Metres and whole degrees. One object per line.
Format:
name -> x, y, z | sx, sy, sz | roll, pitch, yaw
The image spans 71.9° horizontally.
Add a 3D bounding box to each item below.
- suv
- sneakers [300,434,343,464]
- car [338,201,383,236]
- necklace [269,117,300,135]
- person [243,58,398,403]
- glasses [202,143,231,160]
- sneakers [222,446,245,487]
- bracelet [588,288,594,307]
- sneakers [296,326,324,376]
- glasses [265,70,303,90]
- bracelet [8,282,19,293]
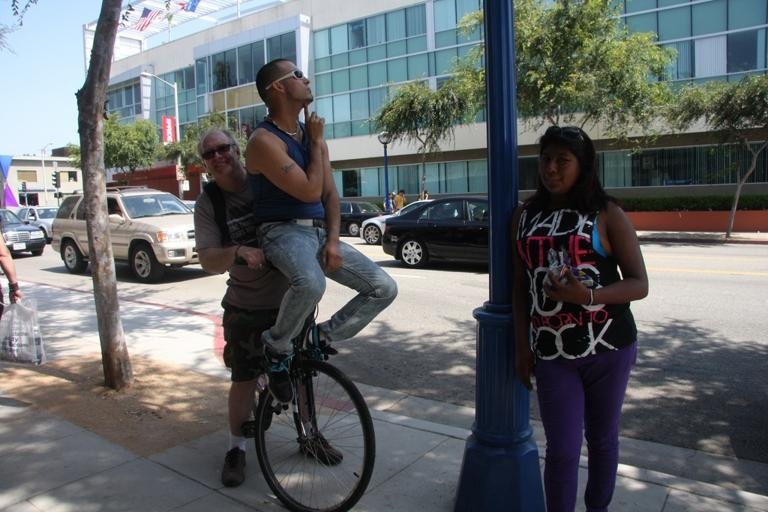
suv -> -6.772, -0.701, 14.028 | 5.427, 2.280, 2.203 | 4, 10, 40
sneakers -> -0.470, 1.486, 4.111 | 0.268, 0.192, 0.093 | 23, 29, -2
car -> -1.176, -1.663, 22.835 | 2.687, 0.971, 1.218 | 2, 3, 22
necklace -> -0.706, -0.977, 3.893 | 0.132, 0.036, 0.144 | 18, 0, 5
person -> -0.517, -0.209, 3.912 | 0.895, 2.467, 0.582 | -5, 8, -15
glasses -> -1.342, -0.843, 4.271 | 0.234, 0.122, 0.066 | -5, 8, -19
sneakers -> -1.218, 1.678, 4.305 | 0.165, 0.175, 0.498 | 6, 3, -11
bracelet -> 1.285, 0.252, 3.271 | 0.027, 0.077, 0.055 | 4, -7, 14
sneakers -> -0.542, 0.664, 3.906 | 0.127, 0.171, 0.396 | 2, 3, 23
glasses -> -0.717, -1.300, 3.848 | 0.211, 0.066, 0.178 | -20, 14, -15
bracelet -> -4.117, 0.339, 5.876 | 0.104, 0.089, 0.108 | -2, 4, 5
